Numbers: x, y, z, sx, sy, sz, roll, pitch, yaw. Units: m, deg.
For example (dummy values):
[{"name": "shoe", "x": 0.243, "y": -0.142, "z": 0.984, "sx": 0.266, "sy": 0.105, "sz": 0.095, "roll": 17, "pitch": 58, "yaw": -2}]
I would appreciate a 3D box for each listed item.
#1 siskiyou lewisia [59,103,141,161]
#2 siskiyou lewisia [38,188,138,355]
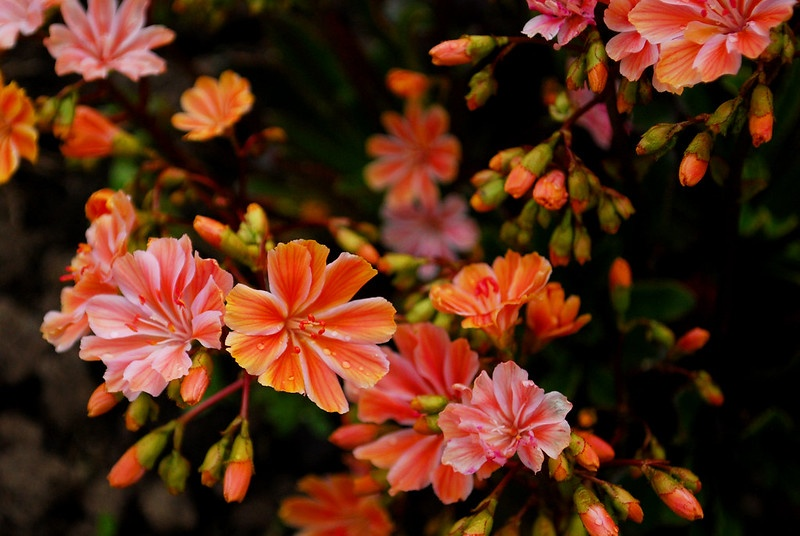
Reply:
[{"name": "siskiyou lewisia", "x": -0.653, "y": -0.281, "z": 1.721, "sx": 0.070, "sy": 0.151, "sz": 0.098, "roll": 38, "pitch": 108, "yaw": 40}, {"name": "siskiyou lewisia", "x": -0.605, "y": 0.020, "z": 1.590, "sx": 0.097, "sy": 0.249, "sz": 0.295, "roll": 13, "pitch": 104, "yaw": 0}]
